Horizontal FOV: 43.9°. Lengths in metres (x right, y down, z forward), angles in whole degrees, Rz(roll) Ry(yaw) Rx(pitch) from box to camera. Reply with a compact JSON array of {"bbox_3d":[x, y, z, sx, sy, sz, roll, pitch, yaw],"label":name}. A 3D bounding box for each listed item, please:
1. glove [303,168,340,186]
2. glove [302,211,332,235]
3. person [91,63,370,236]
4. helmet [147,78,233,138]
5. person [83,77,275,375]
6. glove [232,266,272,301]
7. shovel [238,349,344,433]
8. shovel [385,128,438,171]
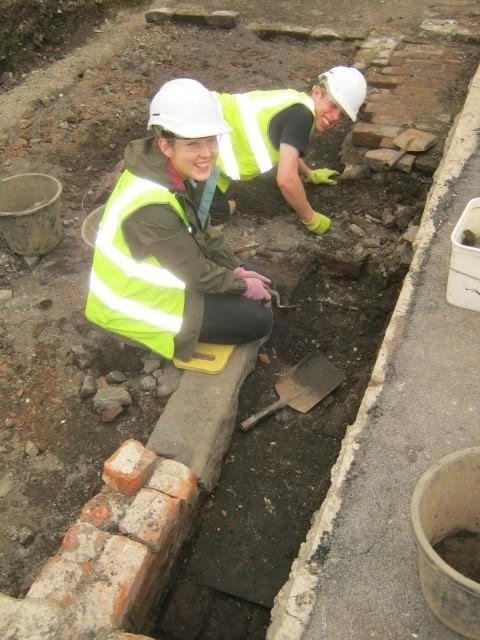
[{"bbox_3d":[0.558,-0.962,3.985,0.188,0.054,0.118,7,70,3],"label":"glove"},{"bbox_3d":[0.478,-0.598,3.618,0.166,0.072,0.126,29,76,8],"label":"glove"},{"bbox_3d":[-0.133,-1.136,3.512,1.732,0.810,0.709,8,35,4],"label":"person"},{"bbox_3d":[-0.215,-0.869,2.434,0.253,0.165,0.334,-28,40,-36],"label":"helmet"},{"bbox_3d":[-0.226,-0.476,2.795,0.984,1.135,0.727,7,30,8],"label":"person"},{"bbox_3d":[0.089,-0.176,3.073,0.218,0.060,0.156,21,28,-37],"label":"glove"},{"bbox_3d":[0.282,0.391,3.049,0.598,0.068,0.265,-35,59,-20],"label":"shovel"},{"bbox_3d":[1.113,-1.127,3.784,0.205,0.049,0.357,22,51,31],"label":"shovel"}]
